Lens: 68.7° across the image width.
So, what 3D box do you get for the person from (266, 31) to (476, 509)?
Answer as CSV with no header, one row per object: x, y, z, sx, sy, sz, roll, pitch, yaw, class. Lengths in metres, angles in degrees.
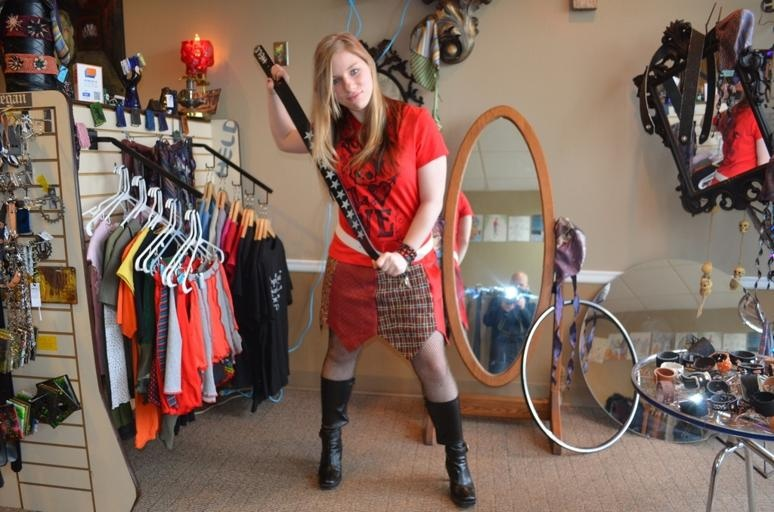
-0.066,0.101,2.901,1.120,2.343,0.410,3,7,13,person

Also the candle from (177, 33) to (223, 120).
-1.202,-1.160,3.656,0.263,0.538,0.185,-2,8,-26,candle

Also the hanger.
-1.127,-0.244,3.085,0.907,0.758,0.603,-3,8,-30,hanger
